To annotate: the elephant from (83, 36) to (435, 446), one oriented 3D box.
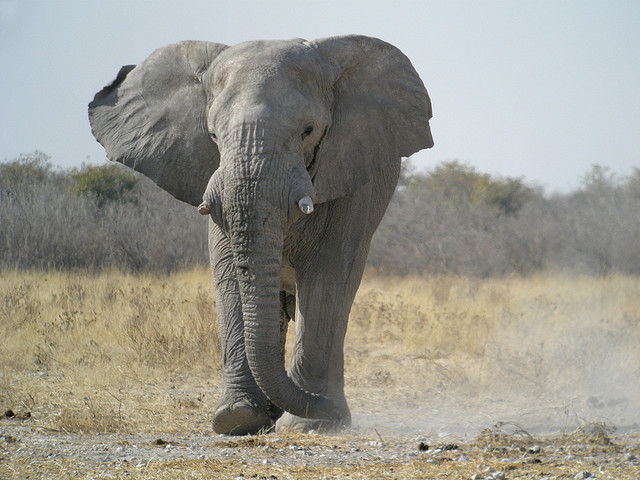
[{"bbox_3d":[-0.544,-0.052,16.194,3.765,4.941,1.834,2,10,3],"label":"elephant"}]
